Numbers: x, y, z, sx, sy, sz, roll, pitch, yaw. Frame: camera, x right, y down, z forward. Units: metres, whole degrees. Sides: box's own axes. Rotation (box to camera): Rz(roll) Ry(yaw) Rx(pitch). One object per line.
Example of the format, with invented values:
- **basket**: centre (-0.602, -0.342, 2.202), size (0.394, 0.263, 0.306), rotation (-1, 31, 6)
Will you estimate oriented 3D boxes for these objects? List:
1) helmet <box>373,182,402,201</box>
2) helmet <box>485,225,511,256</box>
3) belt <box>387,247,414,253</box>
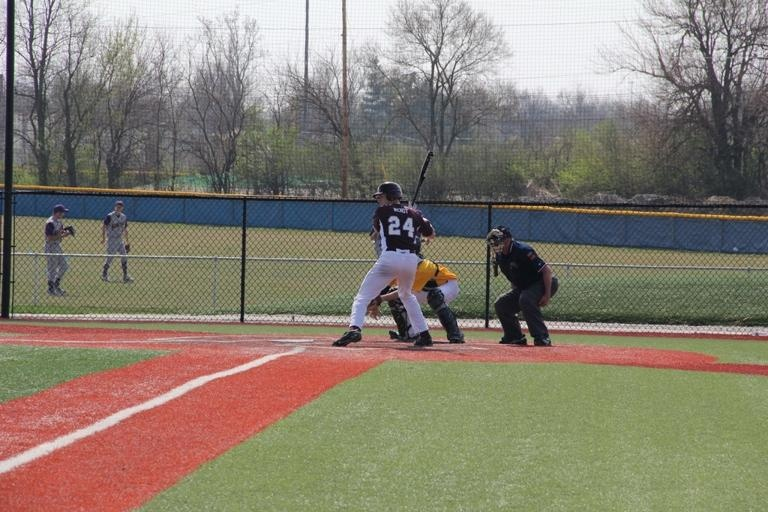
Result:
- **helmet**: centre (0.041, -1.204, 17.167), size (0.466, 0.318, 0.336), rotation (-6, 8, 0)
- **helmet**: centre (2.106, -0.289, 17.494), size (0.441, 0.517, 0.444), rotation (-2, 4, 6)
- **belt**: centre (0.290, -0.097, 16.757), size (0.476, 0.096, 0.064), rotation (-3, 4, -12)
